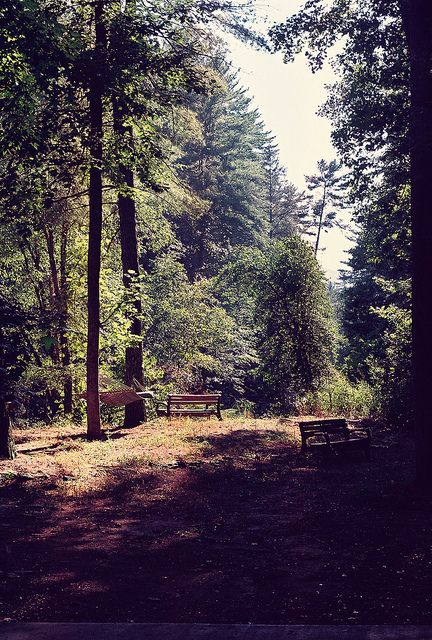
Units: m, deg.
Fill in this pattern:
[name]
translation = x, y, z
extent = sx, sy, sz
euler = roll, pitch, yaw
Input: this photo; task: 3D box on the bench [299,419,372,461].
[bench]
translation = 2.472, 2.361, 14.612
extent = 1.366, 0.640, 2.595
euler = 2, 0, 11
